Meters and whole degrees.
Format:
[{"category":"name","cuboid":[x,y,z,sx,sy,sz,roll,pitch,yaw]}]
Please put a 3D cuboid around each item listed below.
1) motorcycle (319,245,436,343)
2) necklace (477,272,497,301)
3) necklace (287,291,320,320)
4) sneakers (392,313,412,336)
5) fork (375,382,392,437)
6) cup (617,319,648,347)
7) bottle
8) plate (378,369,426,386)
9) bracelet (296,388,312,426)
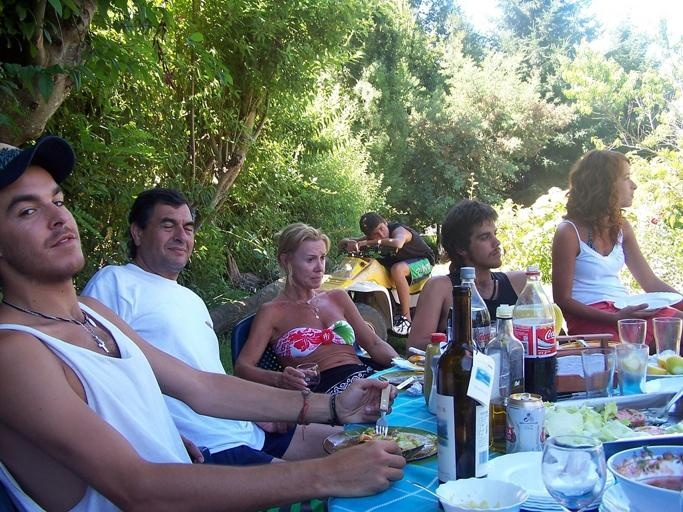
[{"category":"motorcycle","cuboid":[0.548,0.481,7.157,1.489,0.995,0.846,10,-7,-35]},{"category":"necklace","cuboid":[0.979,0.210,3.536,0.111,0.172,0.059,-4,0,0]},{"category":"necklace","cuboid":[-0.213,0.343,3.718,0.166,0.174,0.053,1,-19,-3]},{"category":"sneakers","cuboid":[0.861,0.959,7.243,0.190,0.273,0.588,9,-7,16]},{"category":"fork","cuboid":[0.163,0.614,2.100,0.036,0.229,0.030,11,-47,2]},{"category":"cup","cuboid":[1.363,0.358,2.489,0.107,0.110,0.155,-5,-7,29]},{"category":"bottle","cuboid":[0.384,0.402,1.644,0.189,0.607,0.161,-3,-5,10]},{"category":"plate","cuboid":[0.307,0.611,2.711,0.252,0.037,0.087,-10,12,43]},{"category":"bracelet","cuboid":[-0.152,0.629,2.191,0.048,0.119,0.082,7,-15,-4]}]
